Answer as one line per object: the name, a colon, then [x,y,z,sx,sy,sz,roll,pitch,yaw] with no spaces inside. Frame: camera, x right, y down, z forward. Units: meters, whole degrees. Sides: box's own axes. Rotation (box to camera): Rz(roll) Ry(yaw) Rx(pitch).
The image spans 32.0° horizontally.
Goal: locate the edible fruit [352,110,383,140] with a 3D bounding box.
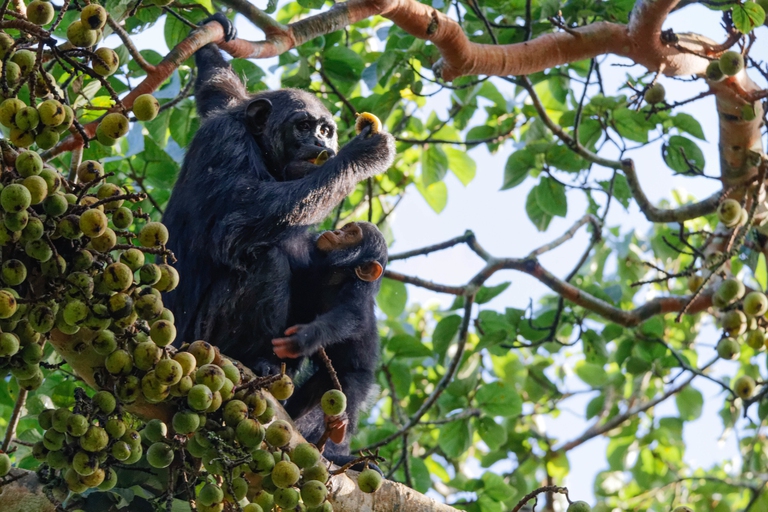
edible fruit: [-0.087,-0.727,7.268,0.132,0.137,0.135,4,-78,-6]
